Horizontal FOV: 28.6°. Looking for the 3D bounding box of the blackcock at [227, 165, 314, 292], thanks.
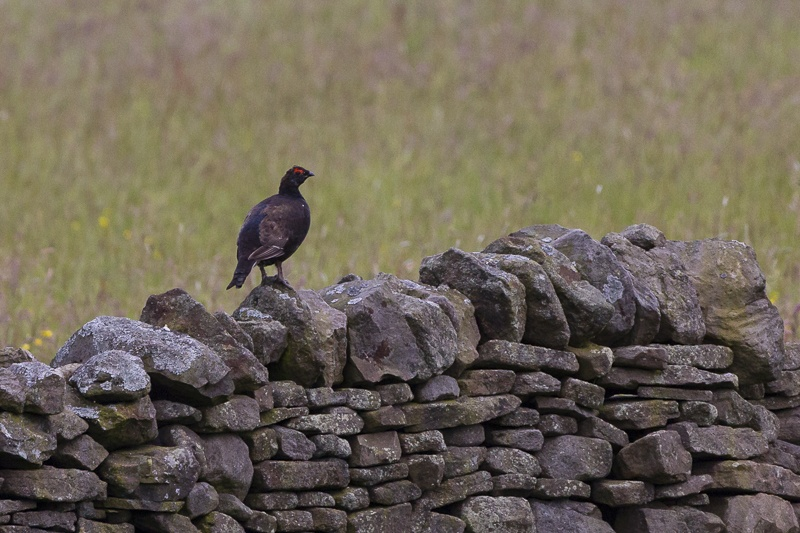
[{"bbox_3d":[-0.882,-0.207,10.682,0.411,0.711,0.952,5,26,24],"label":"blackcock"}]
